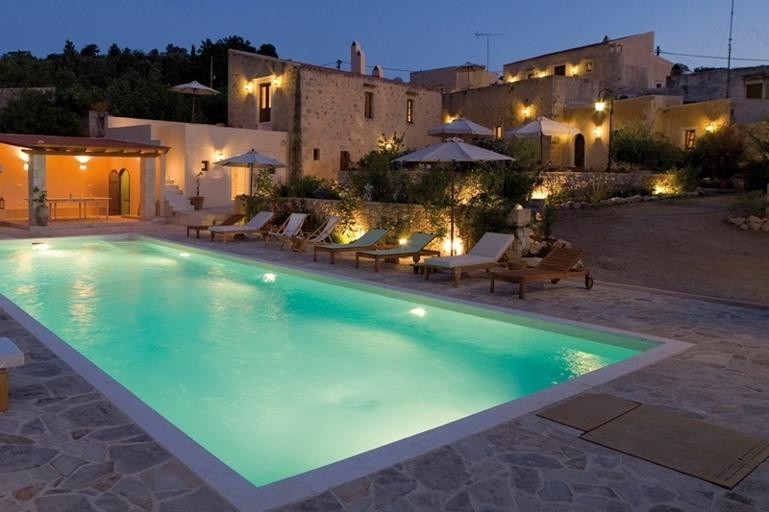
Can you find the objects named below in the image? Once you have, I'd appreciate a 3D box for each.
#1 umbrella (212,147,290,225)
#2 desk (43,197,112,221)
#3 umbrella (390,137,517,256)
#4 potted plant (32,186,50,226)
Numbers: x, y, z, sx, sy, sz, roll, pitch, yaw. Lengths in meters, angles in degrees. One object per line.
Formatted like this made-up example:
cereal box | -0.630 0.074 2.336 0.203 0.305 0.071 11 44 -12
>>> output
umbrella | -4.563 -2.740 18.531 1.538 1.228 1.584 -3 2 10
desk | -11.966 -1.888 21.996 2.300 0.769 1.574 -6 11 -38
umbrella | 1.588 -1.462 12.687 2.310 2.355 2.470 5 15 28
potted plant | -11.696 -1.695 18.868 0.421 1.293 0.403 -6 12 -37
